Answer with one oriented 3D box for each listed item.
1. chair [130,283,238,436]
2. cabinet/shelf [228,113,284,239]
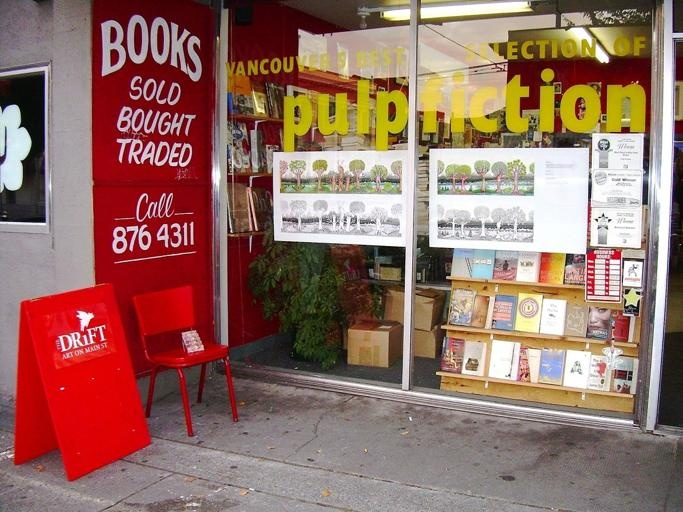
[{"bbox_3d":[-1.223,0.826,4.082,0.598,1.030,0.702,-5,9,-40],"label":"chair"},{"bbox_3d":[-0.820,-0.751,4.827,0.555,1.101,0.145,3,10,20],"label":"cabinet/shelf"}]
